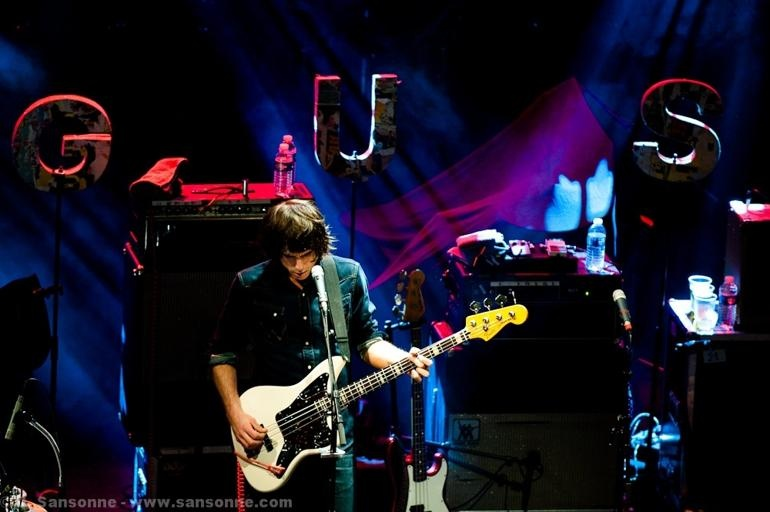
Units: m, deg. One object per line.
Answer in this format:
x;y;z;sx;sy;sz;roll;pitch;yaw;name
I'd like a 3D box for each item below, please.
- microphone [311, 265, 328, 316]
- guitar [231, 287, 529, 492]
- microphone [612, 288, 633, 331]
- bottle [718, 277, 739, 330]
-0.435;0.255;5.059;0.077;0.388;0.077;-10;5;13;microphone
0.232;1.073;5.005;0.746;2.390;0.190;-2;-53;38;guitar
1.882;0.404;6.146;0.114;0.358;0.111;-4;-30;-4;microphone
2.757;0.357;6.270;0.132;0.410;0.116;0;-9;22;bottle
